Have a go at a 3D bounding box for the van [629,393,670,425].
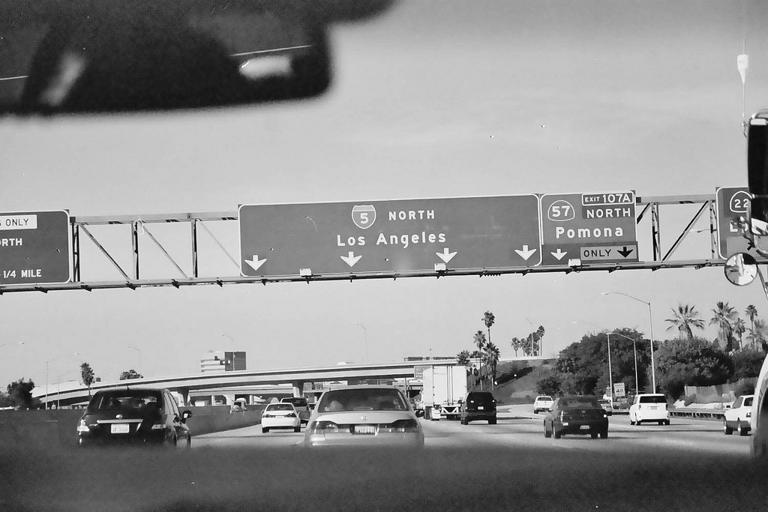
[{"bbox_3d":[11.414,6.625,70.284,1.390,1.300,3.052,3,-2,-11],"label":"van"}]
